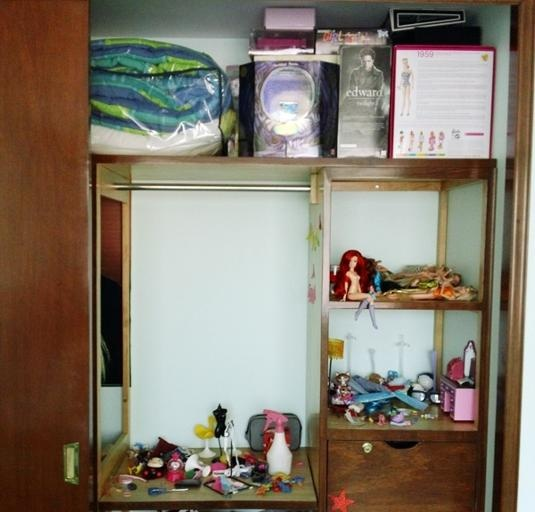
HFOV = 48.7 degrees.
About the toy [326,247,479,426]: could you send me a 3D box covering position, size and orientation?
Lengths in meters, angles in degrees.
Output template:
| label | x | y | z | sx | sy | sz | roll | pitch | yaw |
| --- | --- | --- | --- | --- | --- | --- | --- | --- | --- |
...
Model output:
| label | x | y | z | sx | sy | sz | roll | pitch | yaw |
| --- | --- | --- | --- | --- | --- | --- | --- | --- | --- |
| toy | 0.486 | 0.245 | 2.188 | 0.637 | 0.407 | 0.435 | 0 | 2 | 0 |
